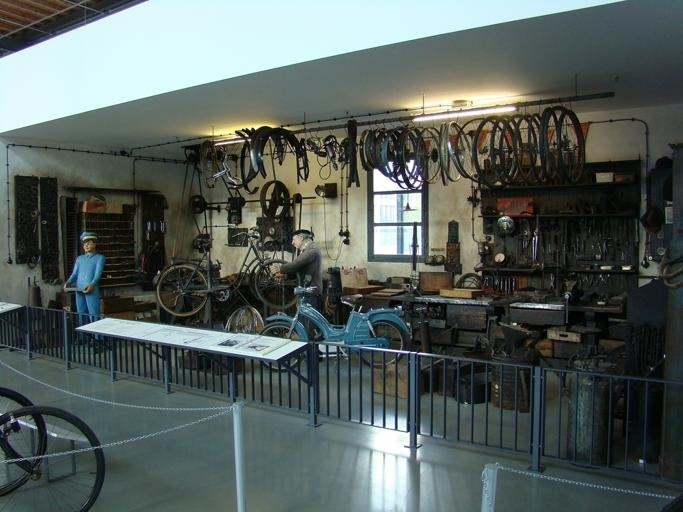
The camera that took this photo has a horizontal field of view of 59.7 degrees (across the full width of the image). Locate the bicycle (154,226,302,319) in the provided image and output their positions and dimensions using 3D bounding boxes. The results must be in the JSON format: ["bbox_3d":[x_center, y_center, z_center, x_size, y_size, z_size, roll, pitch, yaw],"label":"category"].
[{"bbox_3d":[-2.119,0.317,9.922,2.587,1.602,1.322,-3,4,8],"label":"bicycle"}]
